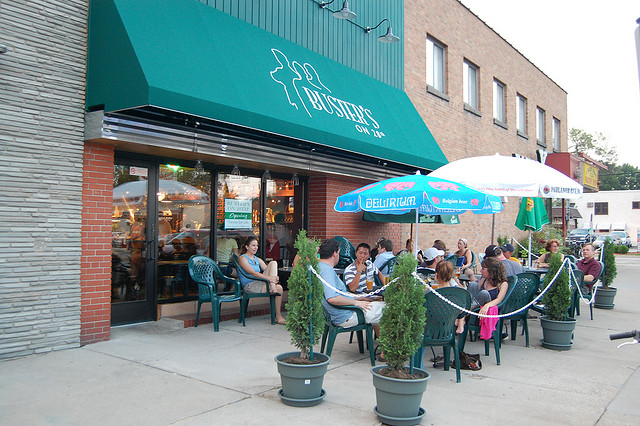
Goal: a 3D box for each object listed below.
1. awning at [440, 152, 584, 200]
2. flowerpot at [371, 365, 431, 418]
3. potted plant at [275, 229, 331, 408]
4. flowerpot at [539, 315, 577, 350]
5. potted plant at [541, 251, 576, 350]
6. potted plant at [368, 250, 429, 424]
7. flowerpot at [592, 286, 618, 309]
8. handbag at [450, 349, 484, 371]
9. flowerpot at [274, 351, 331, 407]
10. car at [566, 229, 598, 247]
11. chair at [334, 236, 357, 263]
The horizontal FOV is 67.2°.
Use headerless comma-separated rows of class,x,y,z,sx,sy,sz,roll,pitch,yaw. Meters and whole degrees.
awning,4.210,-0.802,10.662,3.045,0.891,0.960,1,7,-1
flowerpot,1.059,2.387,6.453,0.620,0.387,0.608,5,-13,-11
potted plant,-0.236,1.489,7.012,0.763,2.386,0.866,2,8,1
flowerpot,4.650,2.340,9.457,0.587,0.485,0.584,2,-13,1
potted plant,4.715,1.715,9.600,0.651,1.734,0.592,0,-10,21
potted plant,1.130,1.680,6.639,0.792,2.199,0.816,3,8,11
flowerpot,7.968,2.320,13.385,0.446,0.557,0.565,7,9,37
handbag,2.559,2.541,8.327,0.403,0.158,0.503,0,-4,-44
flowerpot,-0.263,2.410,7.070,0.728,0.500,0.705,2,-12,-2
car,21.607,1.954,39.757,1.250,1.207,2.668,-4,-7,38
chair,0.639,0.962,12.701,0.503,0.638,0.257,2,-27,-35
